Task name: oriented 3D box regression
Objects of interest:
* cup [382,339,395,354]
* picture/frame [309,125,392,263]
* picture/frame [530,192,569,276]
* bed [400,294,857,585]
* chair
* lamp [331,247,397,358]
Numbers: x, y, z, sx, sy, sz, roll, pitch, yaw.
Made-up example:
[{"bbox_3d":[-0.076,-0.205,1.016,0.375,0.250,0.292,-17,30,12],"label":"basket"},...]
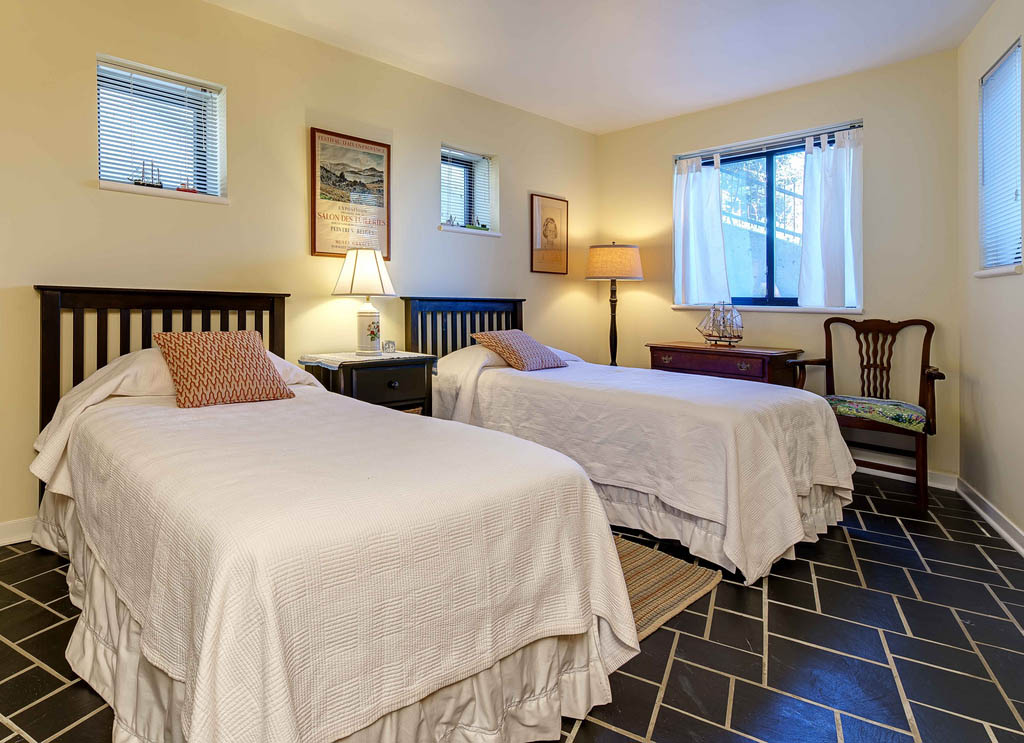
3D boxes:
[{"bbox_3d":[-0.854,-0.179,4.664,0.088,0.091,0.086,2,10,0],"label":"cup"},{"bbox_3d":[-1.114,-1.234,4.635,0.136,0.875,0.646,7,12,40],"label":"picture/frame"},{"bbox_3d":[0.356,-1.237,6.019,0.090,0.711,0.519,6,11,37],"label":"picture/frame"},{"bbox_3d":[0.750,0.318,4.357,2.218,1.230,1.435,2,5,42],"label":"bed"},{"bbox_3d":[2.499,0.226,4.574,0.819,1.316,0.585,2,2,37],"label":"chair"},{"bbox_3d":[-0.984,-0.453,4.531,0.464,0.750,0.447,-7,8,-44],"label":"lamp"}]
